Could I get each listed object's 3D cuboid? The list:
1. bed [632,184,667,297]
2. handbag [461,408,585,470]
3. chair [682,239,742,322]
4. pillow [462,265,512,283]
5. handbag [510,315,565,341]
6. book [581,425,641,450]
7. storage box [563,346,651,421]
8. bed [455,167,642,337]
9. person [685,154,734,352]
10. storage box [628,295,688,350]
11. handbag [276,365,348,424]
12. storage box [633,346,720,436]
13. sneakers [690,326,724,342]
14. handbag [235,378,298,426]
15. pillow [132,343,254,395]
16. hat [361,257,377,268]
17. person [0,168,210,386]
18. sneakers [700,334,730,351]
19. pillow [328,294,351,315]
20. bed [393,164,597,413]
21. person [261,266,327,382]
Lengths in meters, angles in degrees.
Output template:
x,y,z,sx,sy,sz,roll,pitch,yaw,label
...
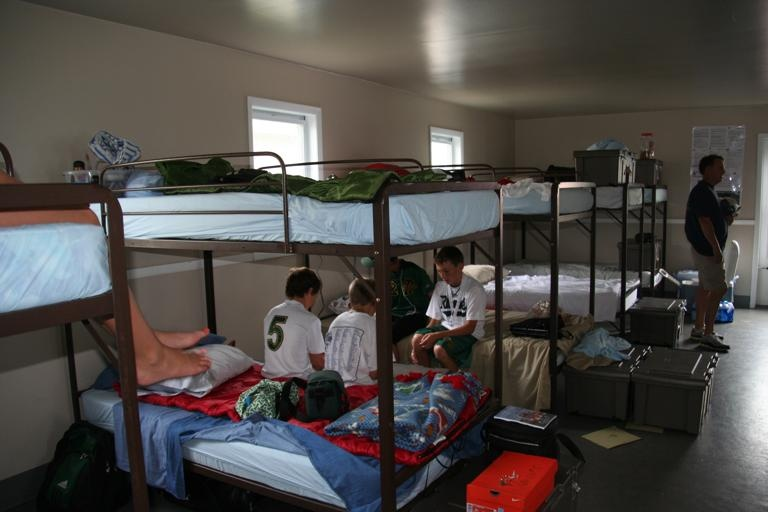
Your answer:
x,y,z,sx,sy,sz,roll,pitch,yaw,label
3.720,-0.186,8.229,0.593,1.542,1.699,1,4,26,bed
1.042,1.327,4.282,0.602,0.278,0.594,1,10,34,handbag
4.619,0.370,8.547,0.747,1.121,0.706,0,3,-4,chair
1.209,0.224,7.325,0.406,0.119,0.415,-5,12,-31,pillow
1.460,0.707,5.748,0.306,0.070,0.311,3,8,38,handbag
2.002,1.615,5.183,0.451,0.072,0.255,-4,6,-25,book
2.155,1.362,5.545,0.469,0.388,0.693,22,-16,-28,storage box
1.922,-0.026,6.571,1.295,2.051,2.323,3,7,32,bed
3.929,-0.050,7.075,0.713,2.359,0.519,-6,8,-34,person
3.217,0.865,6.975,0.501,0.410,0.664,14,-9,-38,storage box
-0.494,1.022,4.299,0.489,0.314,0.500,-6,2,0,handbag
2.726,1.233,5.516,0.636,0.507,0.801,4,6,34,storage box
4.029,0.976,7.233,0.492,0.201,0.163,-1,3,24,sneakers
-0.867,1.057,4.418,0.400,0.160,0.484,9,19,19,handbag
-1.378,0.929,4.720,0.453,0.134,0.518,1,8,26,pillow
-0.154,0.079,6.342,0.139,0.092,0.135,-5,-9,-21,hat
-1.853,0.146,3.871,1.621,1.495,0.617,11,20,36,person
3.960,1.061,7.124,0.154,0.154,0.378,-6,8,-36,sneakers
-0.498,0.564,6.618,0.229,0.089,0.248,-24,13,1,pillow
1.044,0.359,5.507,1.584,2.517,2.818,1,4,24,bed
-0.637,0.556,4.908,0.722,0.864,0.634,1,9,-9,person
